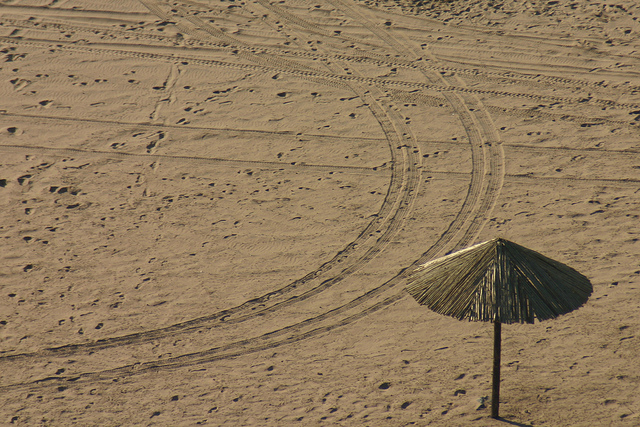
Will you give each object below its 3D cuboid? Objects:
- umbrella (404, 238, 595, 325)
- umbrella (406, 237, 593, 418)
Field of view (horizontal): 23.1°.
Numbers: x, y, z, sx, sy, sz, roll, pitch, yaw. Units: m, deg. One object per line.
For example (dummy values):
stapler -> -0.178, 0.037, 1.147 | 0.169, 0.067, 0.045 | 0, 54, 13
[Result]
umbrella -> 3.045, 1.171, 26.757 | 2.991, 1.322, 1.198 | 2, 40, 9
umbrella -> 3.346, 1.274, 27.173 | 3.225, 1.759, 2.228 | -6, 23, -9
